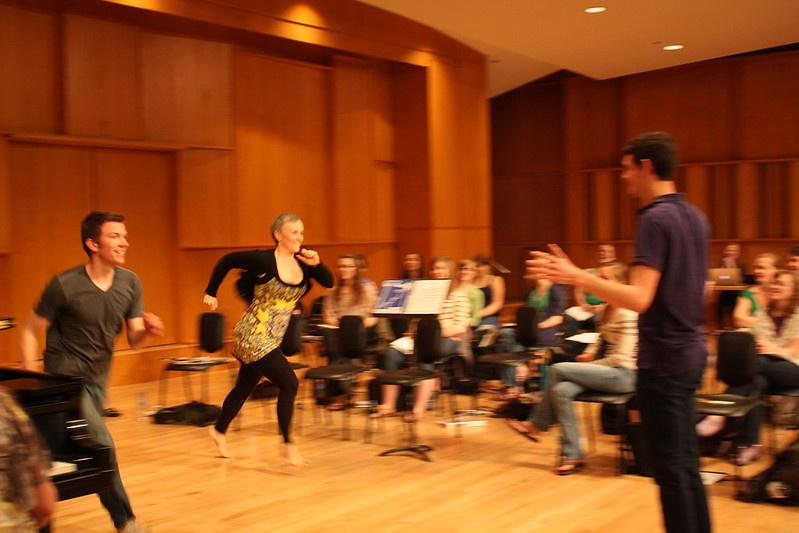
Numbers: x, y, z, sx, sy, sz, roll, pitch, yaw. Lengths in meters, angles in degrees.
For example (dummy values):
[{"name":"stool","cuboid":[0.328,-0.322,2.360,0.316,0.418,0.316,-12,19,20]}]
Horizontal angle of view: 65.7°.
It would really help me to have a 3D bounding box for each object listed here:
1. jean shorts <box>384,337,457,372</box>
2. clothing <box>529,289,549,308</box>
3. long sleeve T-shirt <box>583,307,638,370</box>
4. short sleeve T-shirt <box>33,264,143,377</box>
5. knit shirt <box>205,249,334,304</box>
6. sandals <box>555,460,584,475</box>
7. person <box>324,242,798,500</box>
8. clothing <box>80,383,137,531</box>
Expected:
[{"name":"jean shorts","cuboid":[0.267,0.839,6.203,0.669,0.206,0.640,3,1,-6]},{"name":"clothing","cuboid":[1.473,0.352,6.708,0.229,0.190,0.214,4,-7,-30]},{"name":"long sleeve T-shirt","cuboid":[1.583,0.594,4.789,0.318,0.507,0.415,18,-25,-32]},{"name":"short sleeve T-shirt","cuboid":[-1.618,0.312,3.238,0.509,0.638,0.218,-4,5,-26]},{"name":"knit shirt","cuboid":[-0.968,0.147,4.541,0.918,0.381,0.404,-4,11,-26]},{"name":"sandals","cuboid":[1.261,1.494,4.545,0.239,0.070,0.085,12,-19,-39]},{"name":"person","cuboid":[1.134,0.895,4.877,2.022,1.829,0.570,2,14,-9]},{"name":"clothing","cuboid":[-1.459,0.969,3.100,0.182,0.822,0.776,-4,5,-25]}]
